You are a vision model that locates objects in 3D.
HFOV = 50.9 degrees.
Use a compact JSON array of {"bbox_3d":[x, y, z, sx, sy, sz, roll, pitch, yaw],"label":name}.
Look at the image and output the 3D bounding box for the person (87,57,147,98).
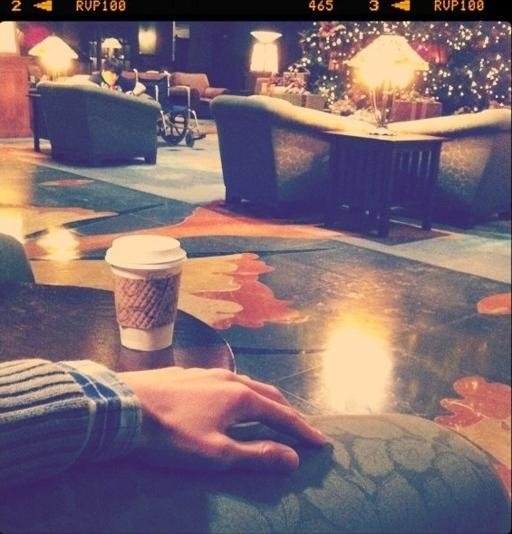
[{"bbox_3d":[-1.881,-2.570,7.420,0.804,0.458,1.065,17,14,-14],"label":"person"}]
